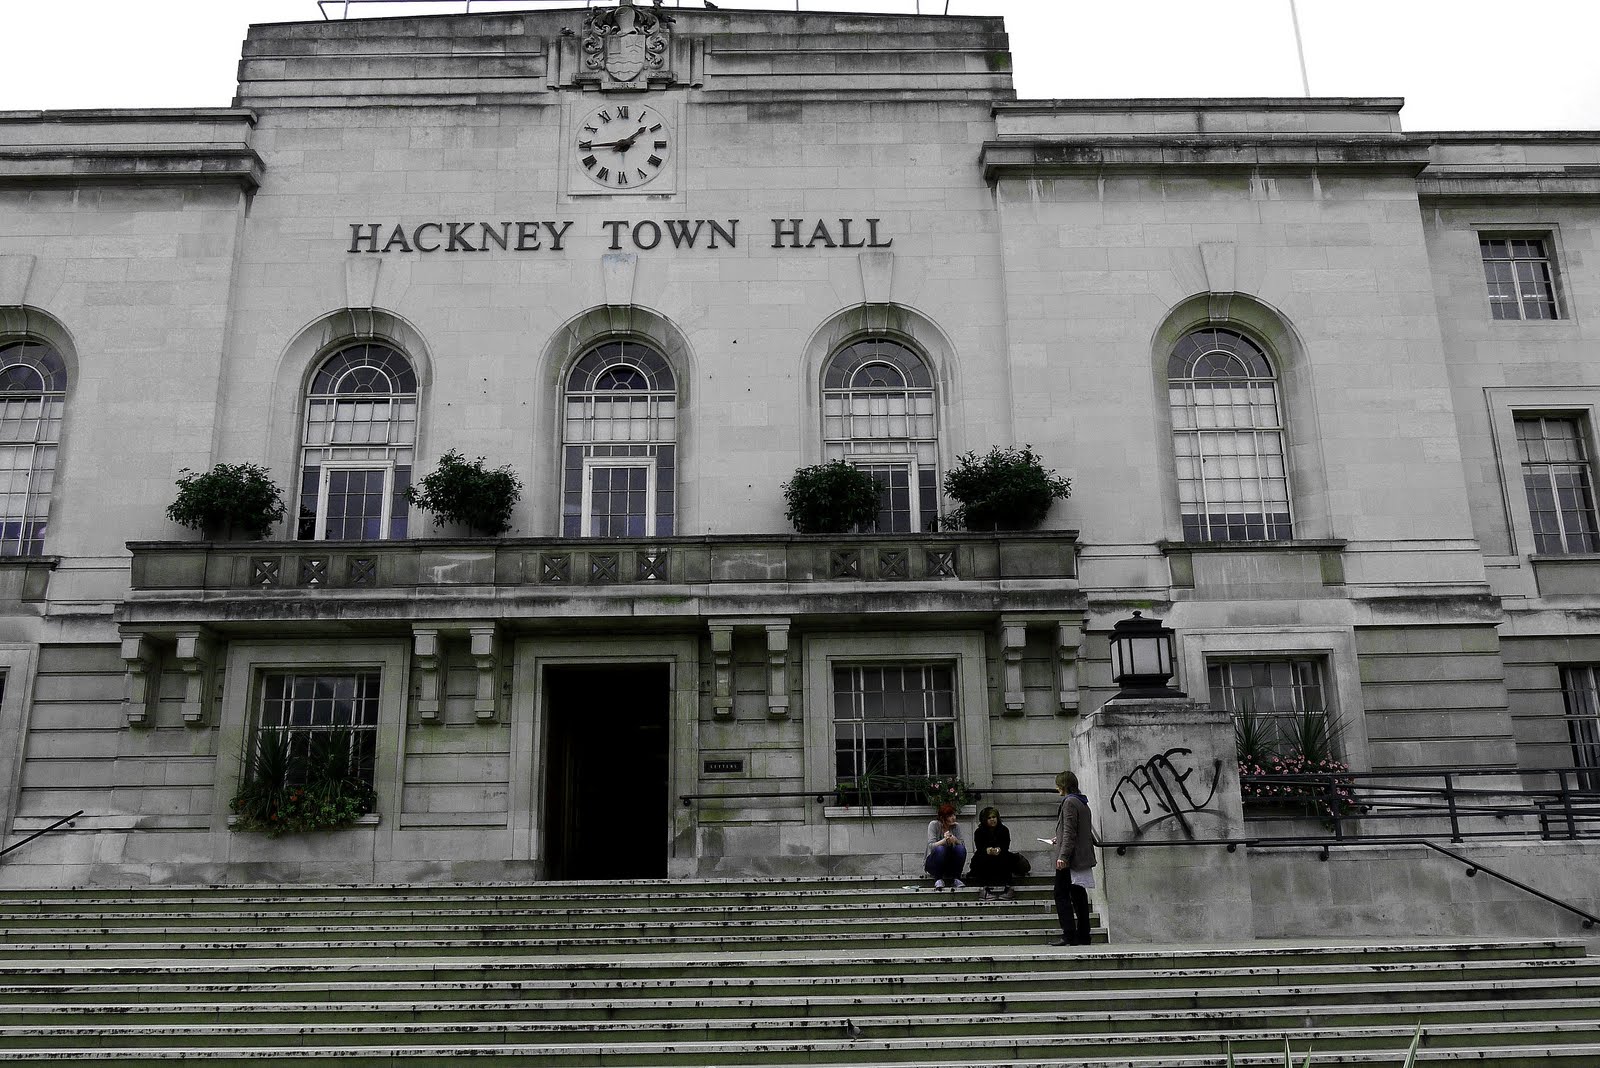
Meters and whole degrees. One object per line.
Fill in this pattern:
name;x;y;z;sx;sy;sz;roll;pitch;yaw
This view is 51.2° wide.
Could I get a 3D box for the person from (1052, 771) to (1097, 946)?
person;4.444;5.135;26.785;0.628;2.728;0.851;-3;-14;9
